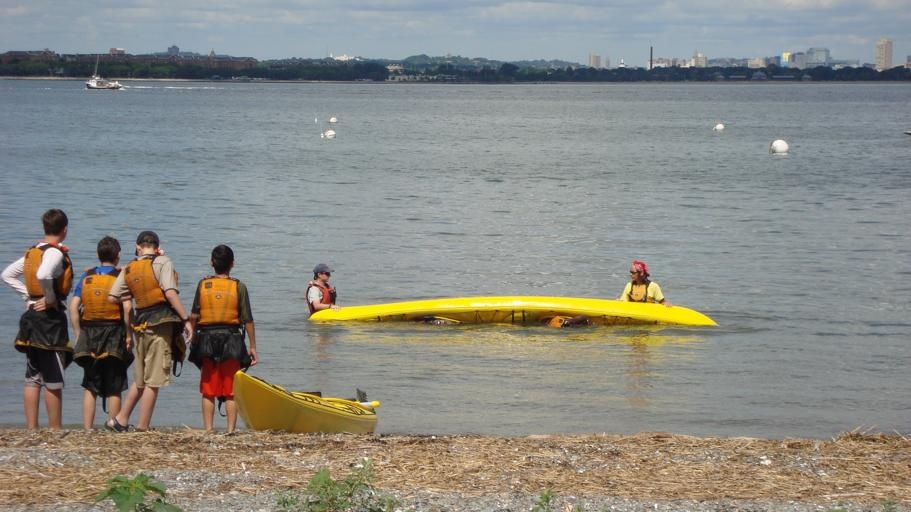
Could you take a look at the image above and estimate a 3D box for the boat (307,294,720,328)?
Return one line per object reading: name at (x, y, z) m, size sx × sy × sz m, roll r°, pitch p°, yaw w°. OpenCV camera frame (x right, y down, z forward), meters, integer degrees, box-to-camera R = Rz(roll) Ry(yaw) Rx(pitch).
boat at (4.248, 3.995, 121.680) m, size 24.998 × 2.112 × 0.838 m, roll -1°, pitch 8°, yaw 1°
